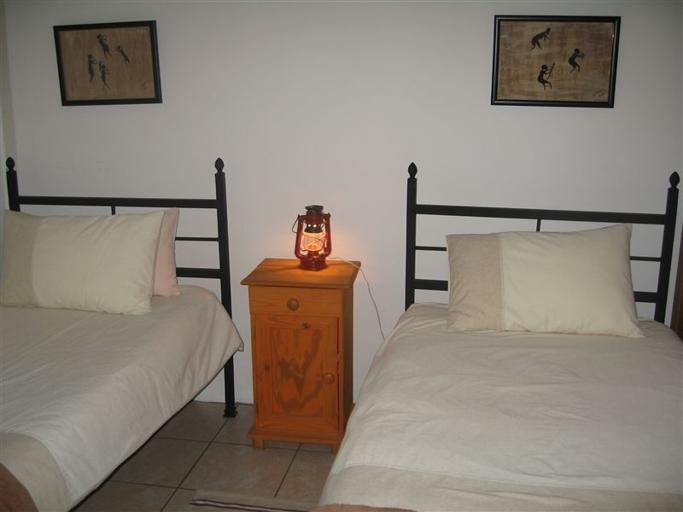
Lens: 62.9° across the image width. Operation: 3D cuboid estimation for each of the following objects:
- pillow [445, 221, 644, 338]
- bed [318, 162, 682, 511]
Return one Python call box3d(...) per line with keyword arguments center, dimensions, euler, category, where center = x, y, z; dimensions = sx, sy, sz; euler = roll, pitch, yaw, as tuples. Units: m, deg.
box3d(center=(0.949, 0.120, 2.660), dimensions=(0.869, 0.484, 0.271), euler=(-1, 11, 7), category="pillow")
box3d(center=(0.744, 0.311, 2.421), dimensions=(1.426, 1.240, 0.174), euler=(2, 12, 9), category="bed")
